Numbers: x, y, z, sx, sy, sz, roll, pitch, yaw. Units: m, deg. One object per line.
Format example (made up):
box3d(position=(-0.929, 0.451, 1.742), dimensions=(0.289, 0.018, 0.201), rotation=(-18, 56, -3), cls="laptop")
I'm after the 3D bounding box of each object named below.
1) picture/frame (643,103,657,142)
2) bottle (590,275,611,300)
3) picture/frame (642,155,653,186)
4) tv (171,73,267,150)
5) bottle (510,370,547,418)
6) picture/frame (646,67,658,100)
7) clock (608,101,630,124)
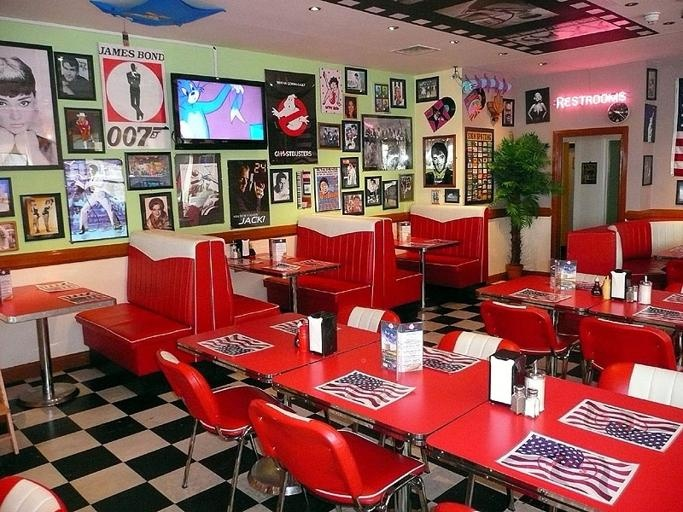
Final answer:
box3d(position=(4.879, -2.117, 7.614), dimensions=(0.066, 0.855, 0.617), rotation=(4, 8, 42), cls="picture/frame")
box3d(position=(2.214, 0.276, 4.106), dimensions=(0.092, 0.218, 0.161), rotation=(-7, 11, -30), cls="bottle")
box3d(position=(4.892, -1.375, 7.698), dimensions=(0.036, 0.540, 0.478), rotation=(7, 11, 43), cls="picture/frame")
box3d(position=(-1.540, -1.745, 5.843), dimensions=(1.035, 0.702, 0.107), rotation=(-8, 12, -42), cls="tv")
box3d(position=(0.917, 0.634, 2.325), dimensions=(0.133, 0.200, 0.237), rotation=(7, 14, 31), cls="bottle")
box3d(position=(4.921, -2.701, 7.620), dimensions=(0.483, 0.491, 0.052), rotation=(-11, 16, -39), cls="picture/frame")
box3d(position=(4.436, -2.272, 7.663), dimensions=(0.048, 0.366, 0.360), rotation=(-9, -2, -33), cls="clock")
